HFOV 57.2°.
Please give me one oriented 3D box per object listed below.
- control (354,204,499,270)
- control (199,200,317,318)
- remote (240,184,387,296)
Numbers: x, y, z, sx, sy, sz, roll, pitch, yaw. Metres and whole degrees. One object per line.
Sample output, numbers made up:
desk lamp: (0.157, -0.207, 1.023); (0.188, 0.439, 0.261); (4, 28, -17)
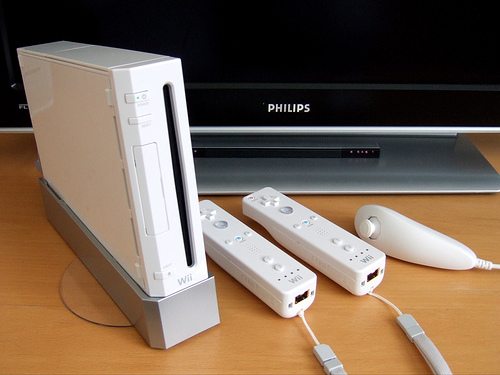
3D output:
control: (0.252, 0.076, 0.697); (0.203, 0.053, 0.082); (17, 23, 5)
control: (0.061, 0.090, 0.679); (0.161, 0.102, 0.222); (-10, 27, -25)
remote: (0.095, 0.075, 0.714); (0.087, 0.098, 0.296); (-30, 48, -32)
